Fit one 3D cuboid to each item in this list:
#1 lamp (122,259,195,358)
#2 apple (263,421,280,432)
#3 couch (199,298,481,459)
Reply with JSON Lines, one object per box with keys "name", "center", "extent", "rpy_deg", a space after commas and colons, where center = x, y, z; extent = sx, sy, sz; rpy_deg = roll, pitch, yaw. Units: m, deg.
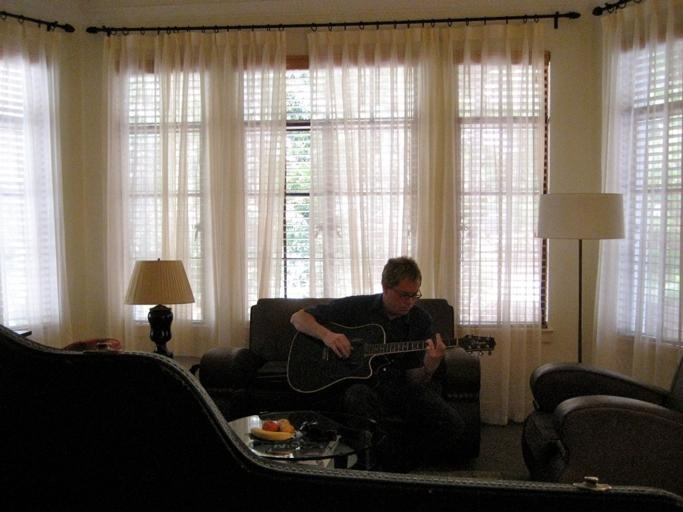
{"name": "lamp", "center": [-1.253, 0.363, 4.544], "extent": [0.469, 0.676, 0.479], "rpy_deg": [0, 1, -10]}
{"name": "apple", "center": [-0.365, 0.888, 3.469], "extent": [0.058, 0.063, 0.059], "rpy_deg": [7, 6, 42]}
{"name": "couch", "center": [0.027, 0.835, 4.642], "extent": [1.816, 1.064, 0.985], "rpy_deg": [0, -2, 3]}
